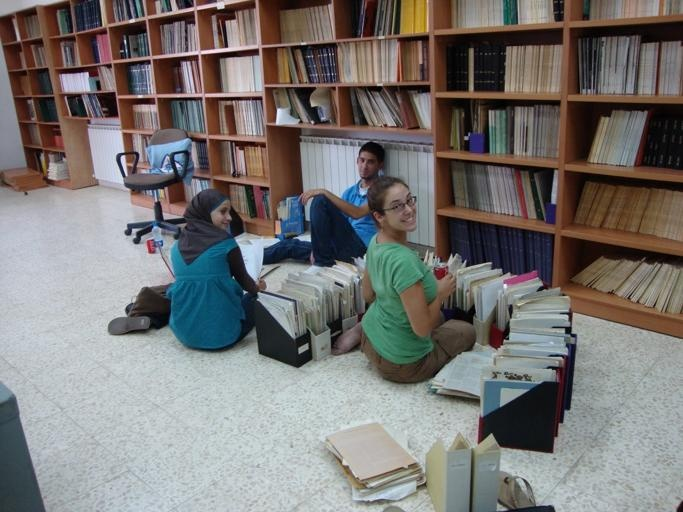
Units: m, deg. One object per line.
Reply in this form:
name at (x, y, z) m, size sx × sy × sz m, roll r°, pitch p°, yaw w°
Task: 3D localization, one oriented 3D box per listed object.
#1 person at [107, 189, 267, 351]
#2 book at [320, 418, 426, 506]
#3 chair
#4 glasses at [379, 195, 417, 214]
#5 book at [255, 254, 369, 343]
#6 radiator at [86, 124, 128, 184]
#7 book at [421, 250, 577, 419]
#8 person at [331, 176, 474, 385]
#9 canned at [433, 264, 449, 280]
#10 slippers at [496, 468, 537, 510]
person at (-1.050, 0.068, 3.278) m, size 1.022 × 0.983 × 0.675 m, roll 6°, pitch 7°, yaw 24°
book at (0.155, 0.882, 2.138) m, size 0.343 × 0.129 × 0.371 m, roll -12°, pitch 20°, yaw -22°
chair at (-1.990, -0.790, 5.291) m, size 0.771 × 1.098 × 0.741 m, roll -4°, pitch 17°, yaw -15°
glasses at (0.275, -0.261, 2.495) m, size 0.116 × 0.035 × 0.112 m, roll 6°, pitch 21°, yaw 42°
book at (-0.120, 0.233, 3.012) m, size 0.389 × 0.182 × 0.512 m, roll 7°, pitch 20°, yaw 27°
radiator at (-3.381, -1.516, 7.107) m, size 0.352 × 0.981 × 1.064 m, roll -15°, pitch 25°, yaw -42°
book at (0.748, 0.370, 2.478) m, size 0.745 × 0.265 × 0.743 m, roll 7°, pitch 18°, yaw 33°
person at (0.367, 0.100, 2.751) m, size 0.619 × 1.025 × 0.816 m, roll -14°, pitch 19°, yaw -40°
canned at (0.596, 0.091, 2.941) m, size 0.080 × 0.074 × 0.078 m, roll -1°, pitch 12°, yaw 2°
slippers at (0.679, 0.925, 1.950) m, size 0.111 × 0.064 × 0.152 m, roll -15°, pitch 29°, yaw -36°
